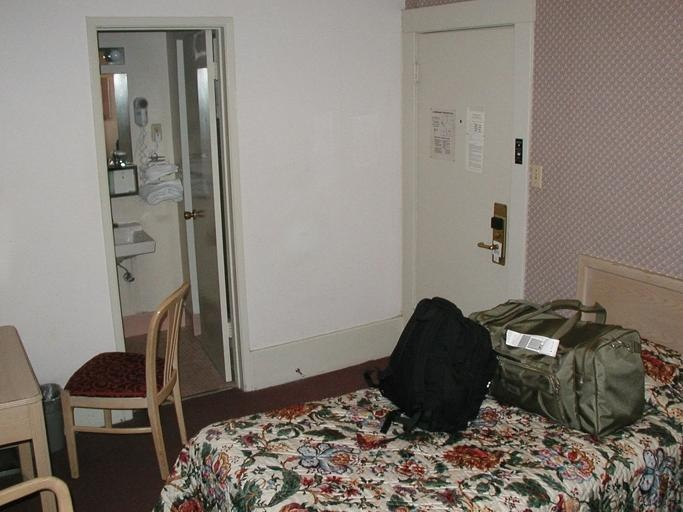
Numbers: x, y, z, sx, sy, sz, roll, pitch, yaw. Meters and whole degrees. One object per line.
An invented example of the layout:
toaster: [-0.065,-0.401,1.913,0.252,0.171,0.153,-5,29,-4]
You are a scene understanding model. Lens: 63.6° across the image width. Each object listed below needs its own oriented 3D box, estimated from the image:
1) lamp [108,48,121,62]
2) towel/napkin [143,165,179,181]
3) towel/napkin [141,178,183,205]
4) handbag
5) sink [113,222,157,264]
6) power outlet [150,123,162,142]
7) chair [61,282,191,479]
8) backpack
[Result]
lamp: [-1.967,-1.735,4.744,0.112,0.110,0.029,-6,7,-25]
towel/napkin: [-1.630,-0.757,4.970,0.226,0.101,0.174,-8,12,-35]
towel/napkin: [-1.637,-0.600,5.003,0.295,0.128,0.228,-10,19,-32]
handbag: [1.112,0.526,2.841,0.507,0.529,0.838,-13,11,-29]
sink: [-1.883,-0.143,4.987,0.330,0.263,0.376,-9,15,-23]
power outlet: [-1.697,-1.127,5.020,0.113,0.196,0.097,-8,26,-28]
chair: [-1.395,0.766,3.593,0.805,1.124,0.828,-3,12,-28]
backpack: [0.478,0.566,2.862,0.445,0.660,0.655,17,-2,-13]
